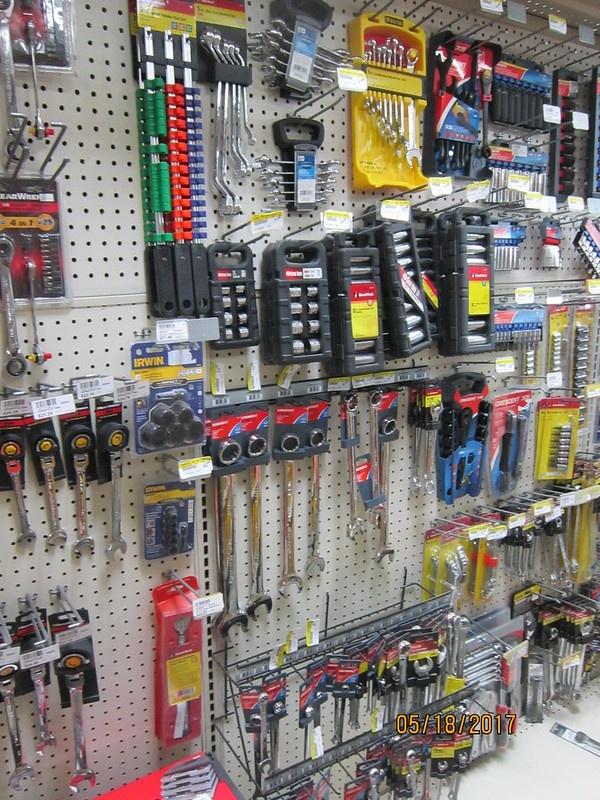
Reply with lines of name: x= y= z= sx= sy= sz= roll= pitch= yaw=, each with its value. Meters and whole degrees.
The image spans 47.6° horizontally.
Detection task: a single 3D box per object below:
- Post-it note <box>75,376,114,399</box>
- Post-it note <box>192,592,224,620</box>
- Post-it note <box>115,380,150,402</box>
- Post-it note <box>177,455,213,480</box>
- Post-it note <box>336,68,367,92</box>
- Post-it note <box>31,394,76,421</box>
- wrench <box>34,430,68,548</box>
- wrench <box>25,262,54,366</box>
Post-it note: x=-0.394 y=-0.019 z=1.299 sx=0.072 sy=0.045 sz=0.093 roll=-10 pitch=9 yaw=-24
Post-it note: x=-0.191 y=0.424 z=1.412 sx=0.061 sy=0.044 sz=0.030 roll=-8 pitch=8 yaw=-18
Post-it note: x=-0.323 y=-0.018 z=1.309 sx=0.066 sy=0.036 sz=0.015 roll=-14 pitch=14 yaw=-43
Post-it note: x=-0.213 y=0.142 z=1.384 sx=0.023 sy=0.042 sz=0.078 roll=1 pitch=11 yaw=44
Post-it note: x=0.113 y=-0.675 z=1.465 sx=0.063 sy=0.061 sz=0.015 roll=-5 pitch=3 yaw=-33
Post-it note: x=-0.443 y=0.012 z=1.223 sx=0.075 sy=0.034 sz=0.028 roll=-13 pitch=11 yaw=-43
wrench: x=-0.477 y=0.178 z=1.312 sx=0.045 sy=0.238 sz=0.055 roll=-9 pitch=8 yaw=-26
wrench: x=-0.490 y=-0.158 z=1.258 sx=0.037 sy=0.195 sz=0.071 roll=-8 pitch=8 yaw=-18
